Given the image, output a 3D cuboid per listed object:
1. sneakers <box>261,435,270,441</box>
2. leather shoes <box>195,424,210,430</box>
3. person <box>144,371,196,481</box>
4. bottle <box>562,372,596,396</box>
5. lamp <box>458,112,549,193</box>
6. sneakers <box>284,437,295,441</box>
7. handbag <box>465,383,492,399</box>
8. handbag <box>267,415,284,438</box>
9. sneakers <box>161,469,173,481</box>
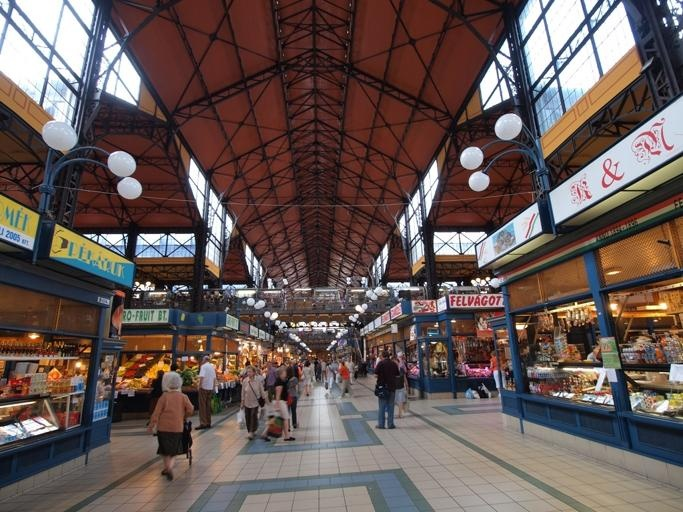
[{"bbox_3d":[-1.709,4.120,8.777,0.183,0.179,0.110,5,-34,-7],"label":"sneakers"},{"bbox_3d":[-3.698,4.570,10.364,0.416,0.167,0.135,5,-25,0],"label":"leather shoes"},{"bbox_3d":[-3.025,2.980,6.855,0.682,1.791,0.406,4,-14,-24],"label":"person"},{"bbox_3d":[4.697,2.504,7.646,0.180,0.470,0.783,0,-12,-10],"label":"bottle"},{"bbox_3d":[3.201,-1.843,7.577,1.541,1.972,0.473,-2,-11,11],"label":"lamp"},{"bbox_3d":[-1.168,4.171,8.836,0.202,0.071,0.106,0,-7,-4],"label":"sneakers"},{"bbox_3d":[5.047,5.001,14.407,0.570,0.343,0.548,0,-18,-8],"label":"handbag"},{"bbox_3d":[-1.483,3.805,8.636,0.381,0.468,0.285,-1,-13,-3],"label":"handbag"},{"bbox_3d":[-3.050,3.817,6.773,0.115,0.128,0.327,6,-14,-16],"label":"sneakers"}]
